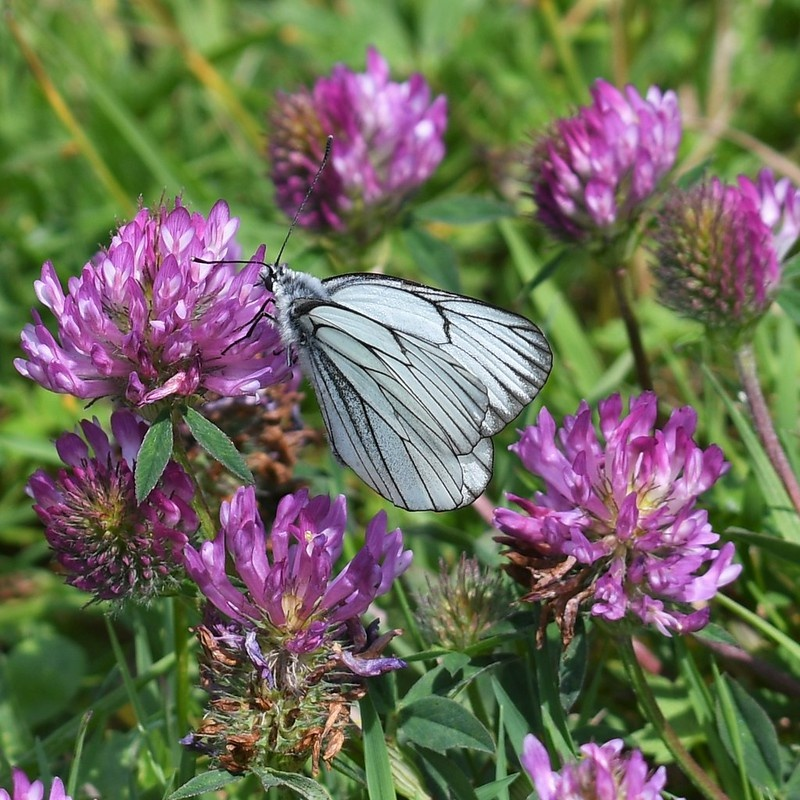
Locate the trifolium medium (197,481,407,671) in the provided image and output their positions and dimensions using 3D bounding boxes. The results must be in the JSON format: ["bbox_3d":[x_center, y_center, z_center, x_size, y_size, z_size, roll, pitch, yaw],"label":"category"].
[{"bbox_3d":[-0.190,0.286,1.609,0.362,0.334,0.243,6,88,-3],"label":"trifolium medium"}]

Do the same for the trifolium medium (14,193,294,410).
[{"bbox_3d":[-0.480,-0.213,1.735,0.449,0.476,0.410,-1,95,8],"label":"trifolium medium"}]

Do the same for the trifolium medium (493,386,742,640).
[{"bbox_3d":[0.435,0.198,1.673,0.333,0.336,0.371,17,108,8],"label":"trifolium medium"}]
